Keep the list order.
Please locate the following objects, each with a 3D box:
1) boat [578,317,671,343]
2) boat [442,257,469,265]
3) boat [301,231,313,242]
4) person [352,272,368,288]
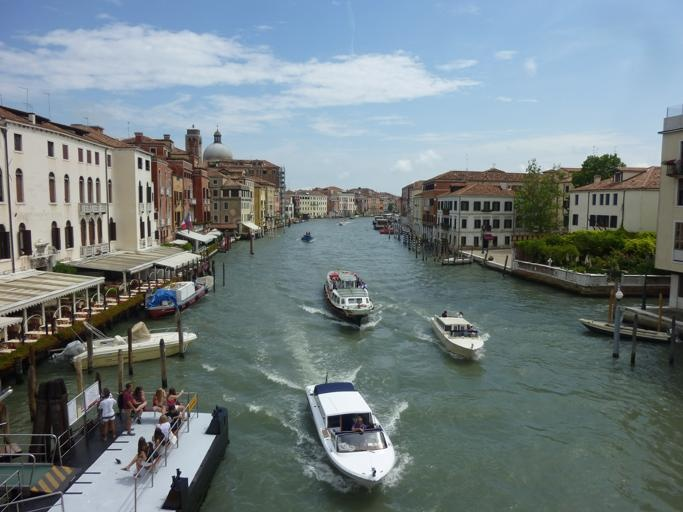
[{"bbox_3d":[20.450,5.757,43.699,5.911,0.970,1.715,5,7,33],"label":"boat"},{"bbox_3d":[15.596,0.754,80.667,2.547,0.714,1.411,0,7,-4],"label":"boat"},{"bbox_3d":[-7.444,-3.941,131.110,1.612,2.092,5.366,3,14,0],"label":"boat"},{"bbox_3d":[1.962,2.499,61.073,1.015,1.067,3.310,7,6,-2],"label":"person"}]
